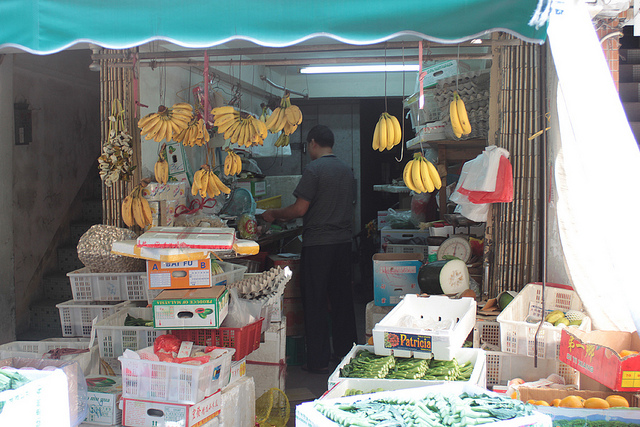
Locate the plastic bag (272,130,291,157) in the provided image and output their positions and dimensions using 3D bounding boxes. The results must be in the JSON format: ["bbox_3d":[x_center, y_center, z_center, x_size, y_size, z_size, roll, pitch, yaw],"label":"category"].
[{"bbox_3d":[-0.558,-0.989,9.461,0.163,0.182,0.615,3,33,5],"label":"plastic bag"}]

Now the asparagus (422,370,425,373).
[{"bbox_3d":[0.621,0.942,3.689,0.010,0.013,0.019,-1,1,0],"label":"asparagus"}]

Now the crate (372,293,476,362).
[{"bbox_3d":[0.684,0.694,3.994,0.523,0.205,0.696,1,17,30],"label":"crate"}]

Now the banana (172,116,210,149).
[{"bbox_3d":[-1.040,-0.647,5.061,0.230,0.309,0.116,15,-14,-11],"label":"banana"}]

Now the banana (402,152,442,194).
[{"bbox_3d":[0.749,-0.302,4.522,0.206,0.317,0.218,-2,-6,-8],"label":"banana"}]

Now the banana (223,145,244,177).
[{"bbox_3d":[-0.749,-0.421,5.108,0.196,0.271,0.157,4,-9,40],"label":"banana"}]

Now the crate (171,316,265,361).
[{"bbox_3d":[-0.692,0.879,4.264,0.633,0.243,0.278,-1,1,-12],"label":"crate"}]

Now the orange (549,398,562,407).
[{"bbox_3d":[1.318,1.053,3.452,0.040,0.033,0.047,-2,-7,27],"label":"orange"}]

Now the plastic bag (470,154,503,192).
[{"bbox_3d":[1.259,-0.300,4.628,0.275,0.275,0.010,3,8,27],"label":"plastic bag"}]

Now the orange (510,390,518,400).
[{"bbox_3d":[1.141,1.065,3.620,0.035,0.039,0.100,-1,1,15],"label":"orange"}]

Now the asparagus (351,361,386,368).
[{"bbox_3d":[0.292,0.917,3.744,0.214,0.016,0.051,-1,1,24],"label":"asparagus"}]

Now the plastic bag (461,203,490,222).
[{"bbox_3d":[1.212,-0.010,4.808,0.196,0.244,0.135,3,-10,0],"label":"plastic bag"}]

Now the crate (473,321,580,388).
[{"bbox_3d":[1.376,0.933,4.151,0.606,0.236,0.390,1,-1,11],"label":"crate"}]

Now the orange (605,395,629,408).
[{"bbox_3d":[1.642,1.021,3.390,0.077,0.074,0.073,-1,-2,2],"label":"orange"}]

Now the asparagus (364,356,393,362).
[{"bbox_3d":[0.360,0.891,3.788,0.172,0.028,0.070,-1,1,5],"label":"asparagus"}]

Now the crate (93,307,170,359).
[{"bbox_3d":[-1.406,0.875,4.569,0.341,0.158,0.450,0,8,-1],"label":"crate"}]

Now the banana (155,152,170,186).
[{"bbox_3d":[-1.319,-0.368,5.147,0.103,0.272,0.204,-1,1,-16],"label":"banana"}]

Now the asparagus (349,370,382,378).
[{"bbox_3d":[0.275,0.954,3.660,0.140,0.021,0.033,3,3,13],"label":"asparagus"}]

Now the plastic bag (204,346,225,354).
[{"bbox_3d":[-0.697,0.892,4.039,0.121,0.025,0.090,0,1,33],"label":"plastic bag"}]

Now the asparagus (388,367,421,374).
[{"bbox_3d":[0.506,0.938,3.684,0.190,0.038,0.045,-1,1,20],"label":"asparagus"}]

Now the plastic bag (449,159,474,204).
[{"bbox_3d":[1.063,-0.270,4.847,0.033,0.290,0.136,0,-6,-39],"label":"plastic bag"}]

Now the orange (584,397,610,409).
[{"bbox_3d":[1.504,1.033,3.355,0.125,0.041,0.077,-1,1,23],"label":"orange"}]

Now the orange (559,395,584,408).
[{"bbox_3d":[1.382,1.038,3.394,0.072,0.048,0.076,-17,34,14],"label":"orange"}]

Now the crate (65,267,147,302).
[{"bbox_3d":[-1.660,0.578,4.868,0.585,0.236,0.073,-1,1,0],"label":"crate"}]

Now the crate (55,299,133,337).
[{"bbox_3d":[-1.810,0.806,4.871,0.460,0.182,0.307,-1,-1,0],"label":"crate"}]

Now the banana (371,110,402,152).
[{"bbox_3d":[0.486,-0.594,4.458,0.189,0.268,0.188,-4,16,5],"label":"banana"}]
